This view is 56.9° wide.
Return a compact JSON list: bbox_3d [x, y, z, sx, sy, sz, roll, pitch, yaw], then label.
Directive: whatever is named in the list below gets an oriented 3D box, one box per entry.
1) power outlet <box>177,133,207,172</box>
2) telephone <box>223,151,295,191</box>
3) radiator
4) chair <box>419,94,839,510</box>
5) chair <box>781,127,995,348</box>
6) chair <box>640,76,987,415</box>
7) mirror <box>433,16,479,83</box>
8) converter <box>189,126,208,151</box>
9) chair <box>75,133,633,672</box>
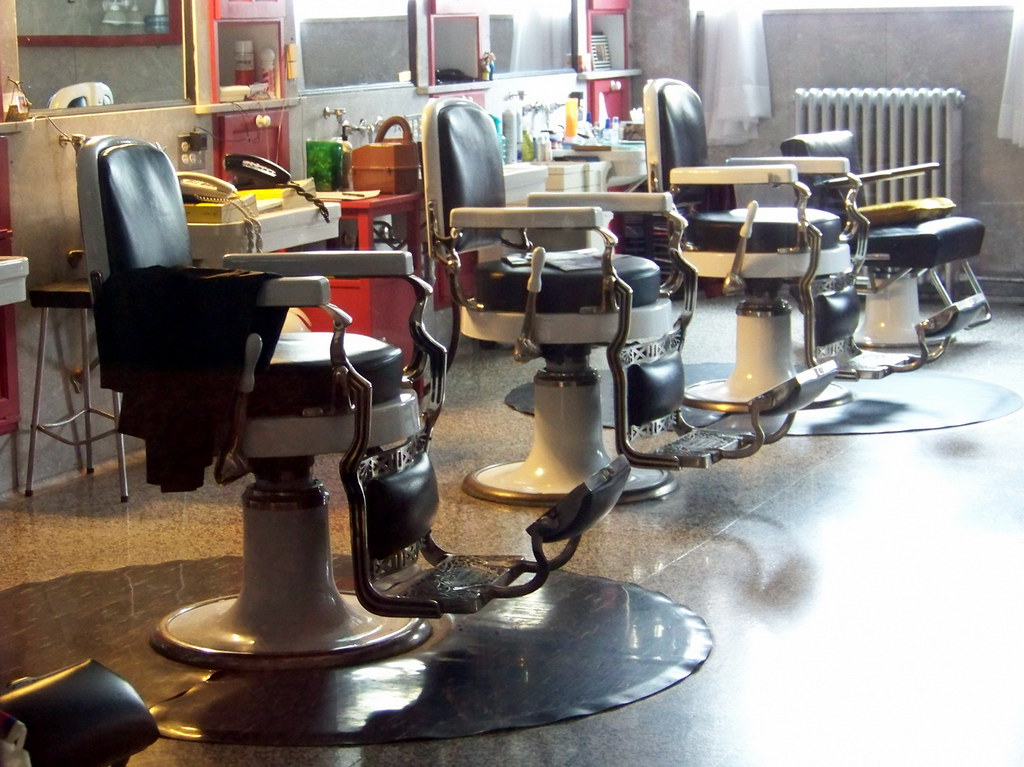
[{"bbox_3d":[-1.303,-0.926,3.804,0.053,0.155,0.176,5,12,19],"label":"power outlet"},{"bbox_3d":[-1.001,-0.844,3.793,0.315,0.134,0.107,13,-15,-18],"label":"telephone"},{"bbox_3d":[2.511,-1.544,6.402,1.092,1.093,0.199,7,58,27],"label":"radiator"},{"bbox_3d":[0.336,-0.231,3.142,1.249,1.196,0.897,4,7,29],"label":"chair"},{"bbox_3d":[1.931,-0.717,4.766,0.959,0.966,0.804,2,15,29],"label":"chair"},{"bbox_3d":[1.237,-0.603,4.007,1.276,1.287,1.069,7,17,33],"label":"chair"},{"bbox_3d":[-0.299,-1.868,5.303,0.074,0.384,0.437,6,15,29],"label":"mirror"},{"bbox_3d":[-1.284,-0.986,3.826,0.059,0.096,0.106,2,9,13],"label":"converter"},{"bbox_3d":[-0.366,0.043,2.247,1.229,1.090,0.786,1,7,-2],"label":"chair"}]
